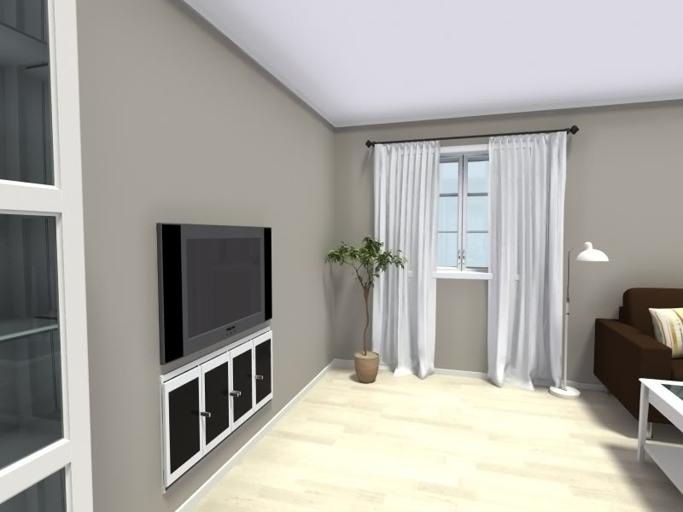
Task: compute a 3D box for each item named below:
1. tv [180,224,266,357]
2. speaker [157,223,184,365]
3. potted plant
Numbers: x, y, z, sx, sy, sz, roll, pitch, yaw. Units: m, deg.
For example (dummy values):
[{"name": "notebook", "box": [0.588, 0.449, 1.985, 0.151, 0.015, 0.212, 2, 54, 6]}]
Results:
[{"name": "tv", "box": [-0.807, 0.226, 3.293, 0.064, 0.720, 0.927, 0, 2, 20]}, {"name": "speaker", "box": [-1.004, 0.214, 2.919, 0.090, 0.802, 0.237, 6, 13, 27]}, {"name": "potted plant", "box": [0.242, 0.527, 5.191, 0.835, 1.459, 0.737, 2, 12, 12]}]
